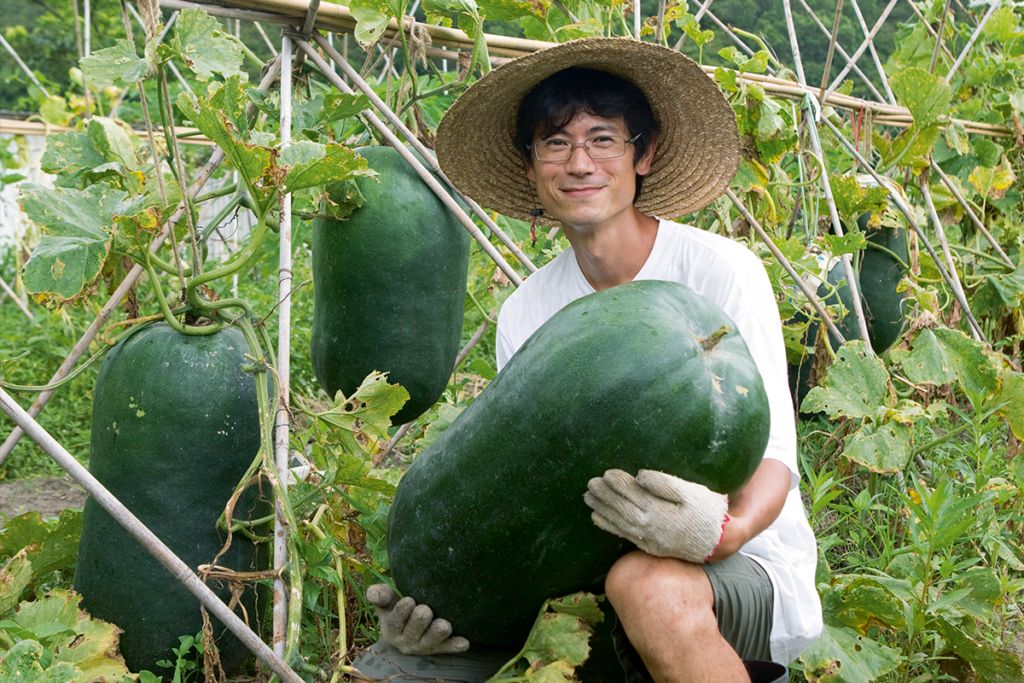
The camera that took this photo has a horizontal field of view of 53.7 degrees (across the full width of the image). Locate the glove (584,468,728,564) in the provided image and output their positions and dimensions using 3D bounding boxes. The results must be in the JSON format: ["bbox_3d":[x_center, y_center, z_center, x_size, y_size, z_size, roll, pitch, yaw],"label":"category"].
[{"bbox_3d":[0.438,0.508,3.100,0.393,0.244,0.143,20,5,-3],"label":"glove"}]

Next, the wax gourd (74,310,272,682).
[{"bbox_3d":[-1.220,0.568,3.714,0.697,1.324,0.332,9,-2,-21],"label":"wax gourd"}]

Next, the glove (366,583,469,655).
[{"bbox_3d":[-0.334,0.958,3.412,0.357,0.200,0.113,35,42,18],"label":"glove"}]

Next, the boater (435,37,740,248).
[{"bbox_3d":[0.287,-0.829,4.072,1.115,0.348,1.176,16,-27,-5],"label":"boater"}]
